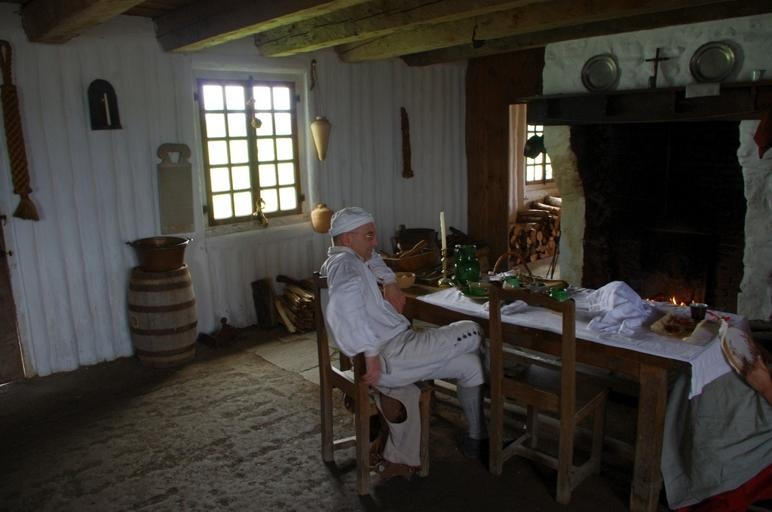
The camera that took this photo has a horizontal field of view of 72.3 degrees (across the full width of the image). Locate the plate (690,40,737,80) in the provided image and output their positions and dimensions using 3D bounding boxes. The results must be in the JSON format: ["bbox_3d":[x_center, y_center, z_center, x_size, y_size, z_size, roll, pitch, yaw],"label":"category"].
[{"bbox_3d":[3.322,-1.969,5.340,0.441,0.050,0.444,7,-23,13],"label":"plate"}]

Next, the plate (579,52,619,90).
[{"bbox_3d":[2.408,-2.034,5.928,0.396,0.427,0.190,0,11,22],"label":"plate"}]

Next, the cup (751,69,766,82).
[{"bbox_3d":[3.615,-1.741,5.118,0.120,0.128,0.139,2,12,34],"label":"cup"}]

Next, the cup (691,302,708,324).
[{"bbox_3d":[2.466,0.452,4.159,0.130,0.108,0.136,-1,11,0],"label":"cup"}]

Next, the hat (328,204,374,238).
[{"bbox_3d":[-0.291,-0.263,4.296,0.300,0.163,0.259,-15,4,15],"label":"hat"}]

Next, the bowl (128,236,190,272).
[{"bbox_3d":[-2.605,-0.021,6.094,0.696,0.284,0.647,4,16,-1],"label":"bowl"}]

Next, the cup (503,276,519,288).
[{"bbox_3d":[1.094,0.224,4.635,0.112,0.081,0.113,-1,5,0],"label":"cup"}]

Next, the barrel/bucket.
[{"bbox_3d":[-2.580,0.700,6.160,0.720,0.961,0.737,-1,7,0],"label":"barrel/bucket"}]
